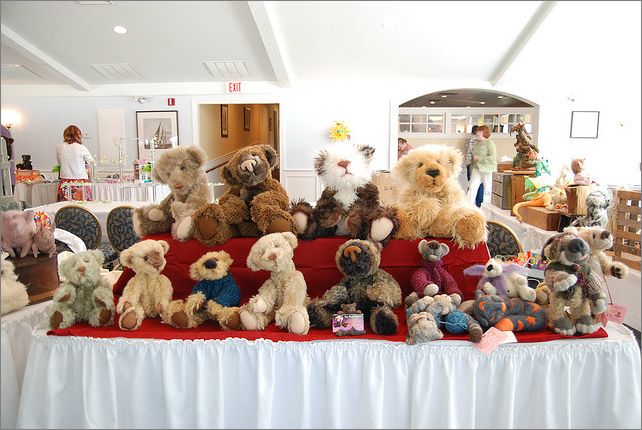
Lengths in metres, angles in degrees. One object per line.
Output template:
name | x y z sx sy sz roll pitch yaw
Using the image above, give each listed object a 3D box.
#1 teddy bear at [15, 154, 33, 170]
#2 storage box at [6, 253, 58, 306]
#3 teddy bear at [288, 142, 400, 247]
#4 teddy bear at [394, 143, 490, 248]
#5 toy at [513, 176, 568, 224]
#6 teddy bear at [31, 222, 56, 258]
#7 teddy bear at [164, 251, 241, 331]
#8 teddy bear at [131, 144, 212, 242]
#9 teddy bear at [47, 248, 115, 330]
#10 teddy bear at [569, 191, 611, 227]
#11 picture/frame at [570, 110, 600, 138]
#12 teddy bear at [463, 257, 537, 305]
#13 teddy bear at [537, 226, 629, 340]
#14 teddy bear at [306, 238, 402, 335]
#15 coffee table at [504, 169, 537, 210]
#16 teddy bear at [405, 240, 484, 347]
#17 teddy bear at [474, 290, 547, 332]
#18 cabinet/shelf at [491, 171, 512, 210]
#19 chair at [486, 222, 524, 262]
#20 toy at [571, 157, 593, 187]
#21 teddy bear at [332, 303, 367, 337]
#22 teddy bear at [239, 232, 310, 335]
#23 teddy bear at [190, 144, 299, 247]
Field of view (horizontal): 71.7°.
teddy bear | -5.633 -1.011 8.407 0.272 0.298 0.349 -4 8 -35
storage box | -1.923 0.449 3.038 0.343 0.252 0.198 -12 -10 -6
teddy bear | 0.188 -0.151 3.050 0.715 0.753 0.480 6 14 17
teddy bear | 0.815 -0.126 3.020 0.496 0.691 0.685 -2 4 -39
toy | 2.175 -0.211 4.358 0.568 0.254 0.407 -5 13 -8
teddy bear | -1.896 0.180 3.034 0.157 0.227 0.243 6 -7 -40
teddy bear | -0.674 0.482 2.702 0.423 0.462 0.472 11 14 44
teddy bear | -1.033 -0.182 3.211 0.536 0.653 0.498 3 9 20
teddy bear | -1.468 0.457 2.737 0.355 0.452 0.328 -5 11 -17
teddy bear | 2.122 -0.042 3.475 0.244 0.303 0.379 5 8 32
picture/frame | 4.949 -1.707 8.329 0.565 0.500 0.070 0 7 -5
teddy bear | 1.133 0.430 2.801 0.442 0.254 0.317 -1 -30 32
teddy bear | 1.489 0.389 2.574 0.459 0.687 0.619 -1 0 1
teddy bear | 0.255 0.419 2.785 0.592 0.630 0.511 1 1 24
coffee table | 2.134 -0.240 4.812 0.288 0.346 0.295 8 -7 -41
teddy bear | 0.696 0.486 2.678 0.449 0.638 0.556 0 -9 -4
teddy bear | 1.162 0.595 2.666 0.427 0.181 0.343 -1 13 4
cabinet/shelf | 2.056 -0.272 5.035 0.154 0.390 0.450 -1 3 -4
chair | 1.434 0.237 3.620 0.307 0.400 0.324 1 -6 -6
toy | 2.321 -0.384 3.932 0.181 0.230 0.422 4 8 29
teddy bear | 0.171 0.599 2.540 0.165 0.172 0.170 0 -7 -1
teddy bear | -0.261 0.388 2.714 0.509 0.627 0.528 -2 2 12
teddy bear | -0.448 -0.148 3.058 0.666 0.679 0.606 0 6 19
